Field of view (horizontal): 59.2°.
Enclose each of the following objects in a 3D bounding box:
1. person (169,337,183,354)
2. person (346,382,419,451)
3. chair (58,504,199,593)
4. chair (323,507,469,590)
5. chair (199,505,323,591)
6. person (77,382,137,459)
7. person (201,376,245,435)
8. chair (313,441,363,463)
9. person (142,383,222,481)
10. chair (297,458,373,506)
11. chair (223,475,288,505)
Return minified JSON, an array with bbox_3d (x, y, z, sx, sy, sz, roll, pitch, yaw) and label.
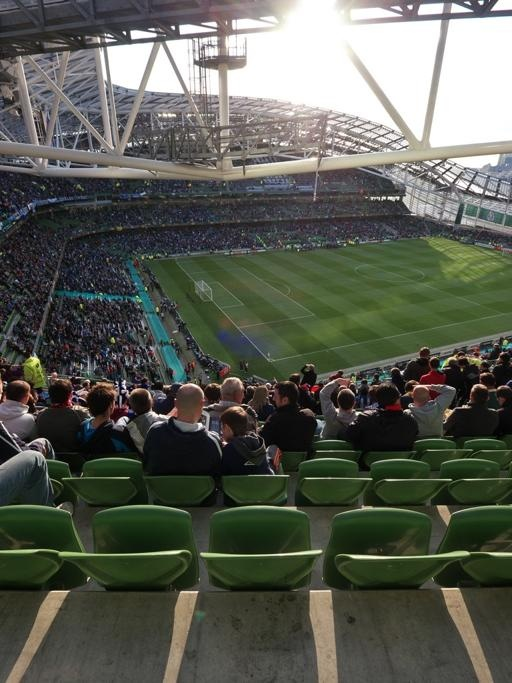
[{"bbox_3d":[-4.625,0.319,26.097,0.554,0.596,1.088,-3,15,-13],"label":"person"},{"bbox_3d":[1.412,0.873,5.050,0.737,0.846,0.236,7,11,13],"label":"person"},{"bbox_3d":[-0.630,1.163,2.506,0.743,0.427,0.575,1,25,-2],"label":"chair"},{"bbox_3d":[0.714,1.160,2.554,0.824,0.296,0.516,2,37,-5],"label":"chair"},{"bbox_3d":[0.041,1.187,2.556,0.708,0.347,0.528,1,26,-1],"label":"chair"},{"bbox_3d":[-1.493,0.838,4.609,0.549,0.825,0.417,1,11,-19],"label":"person"},{"bbox_3d":[-0.343,0.822,5.138,0.534,0.798,0.463,-4,7,-21],"label":"person"},{"bbox_3d":[0.878,1.227,5.060,0.380,0.300,0.256,1,28,0],"label":"chair"},{"bbox_3d":[-0.577,0.740,3.696,0.644,0.823,0.297,3,11,-11],"label":"person"},{"bbox_3d":[0.628,1.204,3.767,0.587,0.319,0.384,1,-9,-2],"label":"chair"},{"bbox_3d":[-0.007,1.176,3.725,0.475,0.253,0.438,1,-3,-1],"label":"chair"}]
